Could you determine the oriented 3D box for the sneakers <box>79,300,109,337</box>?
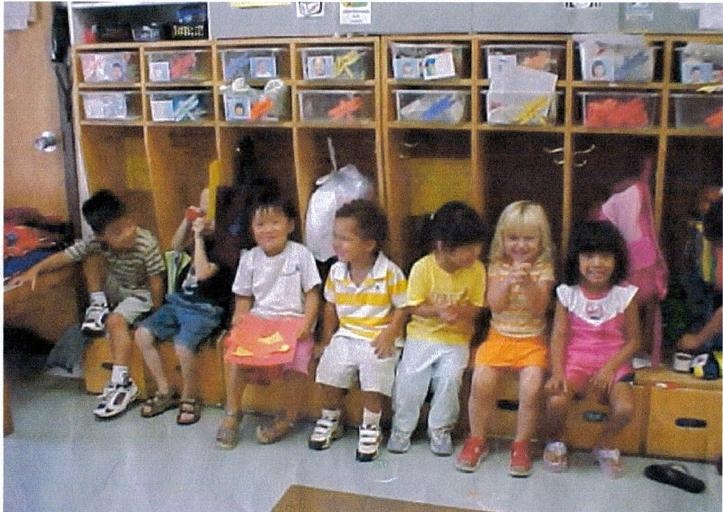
[{"bbox_3d":[-1.095,0.252,2.718,0.062,0.087,0.193,6,35,0],"label":"sneakers"}]

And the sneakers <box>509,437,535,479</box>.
[{"bbox_3d":[0.597,0.763,2.414,0.061,0.066,0.157,1,35,5],"label":"sneakers"}]

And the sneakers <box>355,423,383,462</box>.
[{"bbox_3d":[0.019,0.725,2.500,0.066,0.074,0.160,0,17,3],"label":"sneakers"}]

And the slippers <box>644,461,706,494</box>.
[{"bbox_3d":[1.156,0.820,2.397,0.193,0.071,0.101,15,52,20],"label":"slippers"}]

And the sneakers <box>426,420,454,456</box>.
[{"bbox_3d":[0.307,0.710,2.476,0.059,0.056,0.133,-5,37,-9],"label":"sneakers"}]

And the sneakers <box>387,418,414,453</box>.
[{"bbox_3d":[0.148,0.712,2.508,0.058,0.066,0.152,6,25,6],"label":"sneakers"}]

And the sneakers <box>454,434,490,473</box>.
[{"bbox_3d":[0.426,0.740,2.489,0.064,0.077,0.167,19,45,22],"label":"sneakers"}]

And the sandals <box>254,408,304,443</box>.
[{"bbox_3d":[-0.332,0.688,2.578,0.161,0.061,0.097,-30,70,-18],"label":"sandals"}]

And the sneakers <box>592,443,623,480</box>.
[{"bbox_3d":[0.921,0.769,2.410,0.113,0.116,0.072,-8,3,18],"label":"sneakers"}]

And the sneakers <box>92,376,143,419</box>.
[{"bbox_3d":[-0.998,0.600,2.728,0.112,0.223,0.095,41,-6,11],"label":"sneakers"}]

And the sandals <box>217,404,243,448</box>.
[{"bbox_3d":[-0.525,0.699,2.622,0.064,0.171,0.060,2,-20,0],"label":"sandals"}]

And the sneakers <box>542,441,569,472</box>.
[{"bbox_3d":[0.738,0.743,2.443,0.089,0.173,0.098,-2,-2,22],"label":"sneakers"}]

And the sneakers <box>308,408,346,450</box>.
[{"bbox_3d":[-0.135,0.688,2.562,0.077,0.111,0.208,2,7,25],"label":"sneakers"}]

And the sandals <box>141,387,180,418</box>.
[{"bbox_3d":[-0.820,0.608,2.643,0.150,0.066,0.090,-10,24,-5],"label":"sandals"}]

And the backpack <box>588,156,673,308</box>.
[{"bbox_3d":[1.005,-0.089,2.405,0.272,0.519,0.076,-1,10,-5],"label":"backpack"}]
